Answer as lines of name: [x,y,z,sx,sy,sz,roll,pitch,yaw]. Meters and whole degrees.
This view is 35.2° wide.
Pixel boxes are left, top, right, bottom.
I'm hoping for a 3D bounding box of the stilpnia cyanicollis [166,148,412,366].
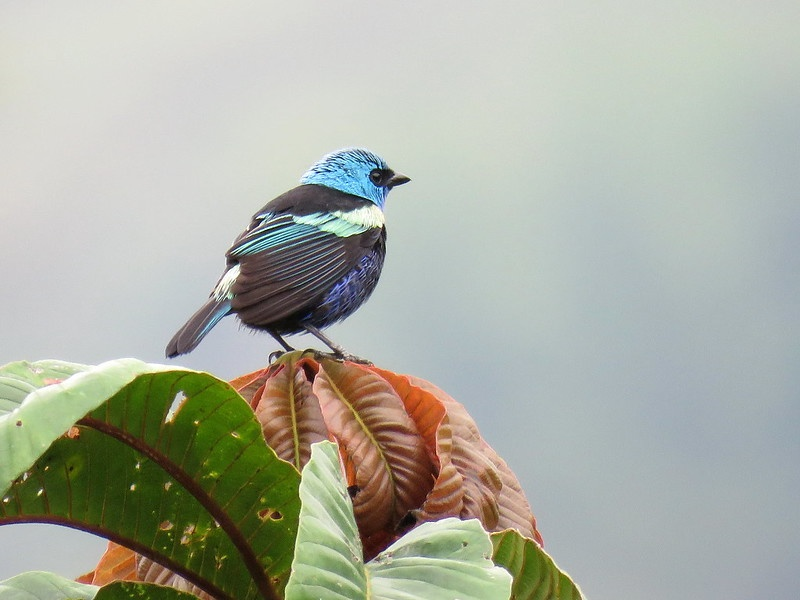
stilpnia cyanicollis: [-0.378,-0.136,4.224,0.870,0.734,0.448,-2,-7,-30]
